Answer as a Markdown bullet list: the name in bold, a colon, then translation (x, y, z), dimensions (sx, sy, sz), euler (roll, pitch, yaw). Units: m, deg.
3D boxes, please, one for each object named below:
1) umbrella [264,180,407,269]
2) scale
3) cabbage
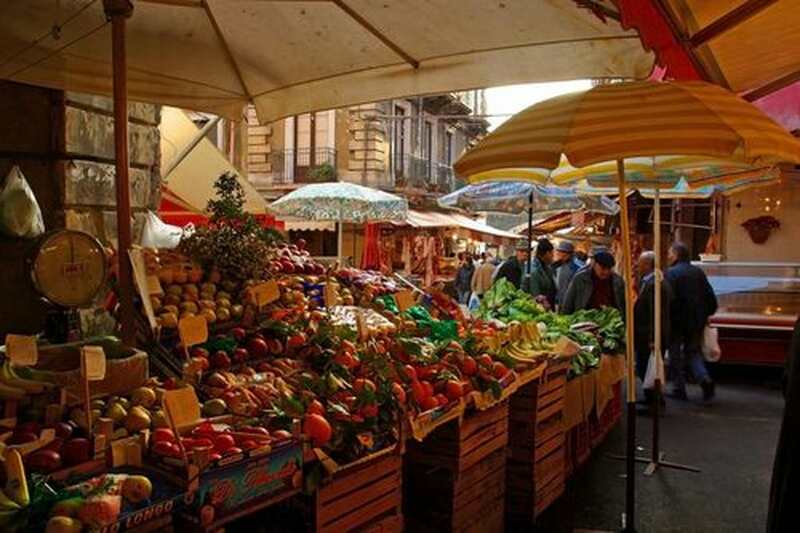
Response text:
- **umbrella**: translation (-1.325, -0.968, 13.978), dimensions (2.096, 1.370, 2.233), euler (5, 2, 7)
- **scale**: translation (-2.324, 0.132, 4.420), dimensions (0.499, 0.762, 0.210), euler (-2, 6, -33)
- **cabbage**: translation (1.447, 0.487, 7.692), dimensions (0.784, 0.399, 0.763), euler (4, -2, -34)
